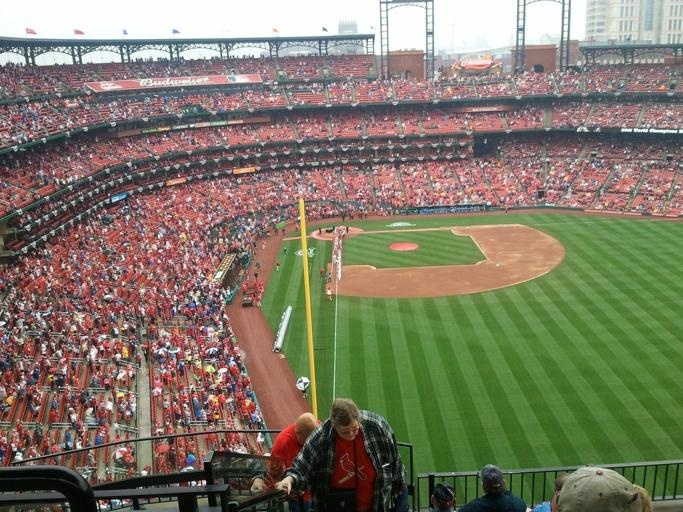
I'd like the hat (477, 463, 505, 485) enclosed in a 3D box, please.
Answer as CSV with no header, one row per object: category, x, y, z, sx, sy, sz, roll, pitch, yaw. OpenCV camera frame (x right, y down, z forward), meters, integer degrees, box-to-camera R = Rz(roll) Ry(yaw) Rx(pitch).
hat,2.714,3.954,10.644,0.333,0.428,0.432,0,11,3

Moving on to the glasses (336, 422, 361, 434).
glasses,0.110,2.791,9.568,0.227,0.116,0.292,-6,-10,-3
